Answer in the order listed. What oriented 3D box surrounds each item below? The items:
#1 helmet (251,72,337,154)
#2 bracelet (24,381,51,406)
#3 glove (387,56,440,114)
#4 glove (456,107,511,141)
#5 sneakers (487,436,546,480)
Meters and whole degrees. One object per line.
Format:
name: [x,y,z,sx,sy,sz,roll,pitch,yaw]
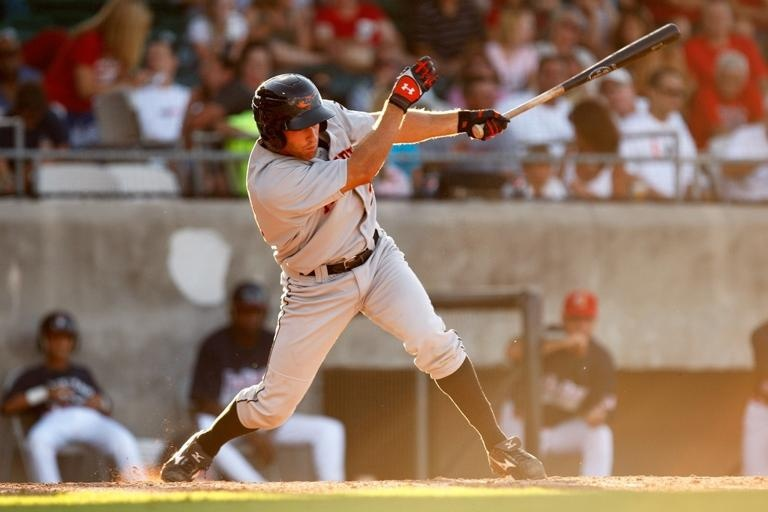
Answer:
helmet: [-0.532,-0.856,9.562,0.535,0.404,0.397,12,31,29]
bracelet: [-2.316,0.939,10.824,0.214,0.123,0.137,-11,5,-5]
glove: [0.146,-0.981,9.485,0.368,0.232,0.096,-50,14,-22]
glove: [0.591,-0.792,9.714,0.211,0.072,0.220,23,26,26]
sneakers: [0.799,1.219,9.624,0.200,0.252,0.372,-22,7,-35]
